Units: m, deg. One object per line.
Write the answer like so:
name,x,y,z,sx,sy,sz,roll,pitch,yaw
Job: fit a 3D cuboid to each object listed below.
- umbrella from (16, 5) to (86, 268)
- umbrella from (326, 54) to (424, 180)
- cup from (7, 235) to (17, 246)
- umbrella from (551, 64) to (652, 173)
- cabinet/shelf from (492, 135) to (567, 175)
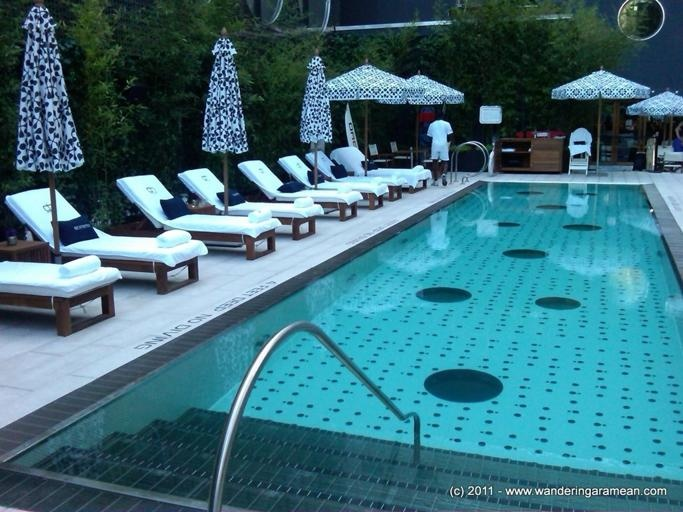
umbrella,-3.170,-1.296,5.969,0.624,2.754,0.399,-11,18,-25
umbrella,0.698,-3.664,13.700,2.440,2.628,2.362,1,18,5
cup,-3.577,-0.159,6.073,0.097,0.103,0.093,1,4,0
umbrella,7.995,-4.429,18.079,2.531,3.274,3.321,0,16,10
cabinet/shelf,6.768,-3.460,19.369,0.823,1.253,2.337,-2,7,-37
